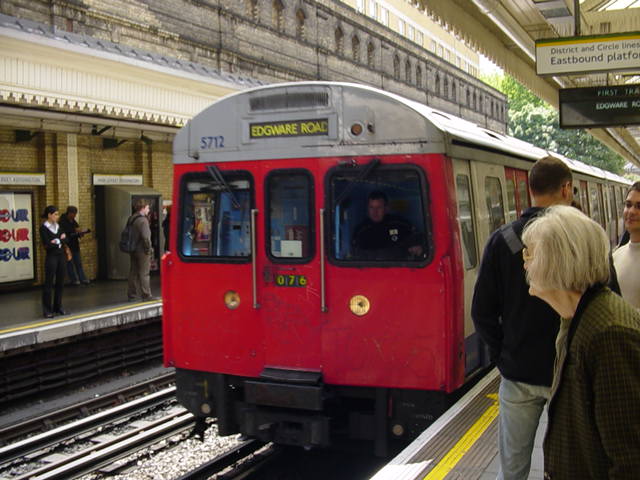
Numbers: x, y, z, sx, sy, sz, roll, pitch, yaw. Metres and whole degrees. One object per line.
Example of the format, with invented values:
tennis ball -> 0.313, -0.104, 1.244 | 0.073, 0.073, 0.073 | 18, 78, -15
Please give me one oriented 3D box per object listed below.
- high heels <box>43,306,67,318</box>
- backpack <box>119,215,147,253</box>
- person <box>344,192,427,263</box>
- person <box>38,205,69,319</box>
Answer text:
high heels -> -5.178, 1.387, 10.840 | 0.462, 0.226, 0.183 | -4, -3, 32
backpack -> -4.134, -0.070, 12.489 | 0.453, 0.966, 0.658 | -6, -11, 5
person -> 0.635, 0.007, 5.699 | 0.901, 0.951, 0.544 | -5, -6, 28
person -> -5.263, 0.379, 10.942 | 0.476, 2.227, 0.609 | -3, 2, -15
